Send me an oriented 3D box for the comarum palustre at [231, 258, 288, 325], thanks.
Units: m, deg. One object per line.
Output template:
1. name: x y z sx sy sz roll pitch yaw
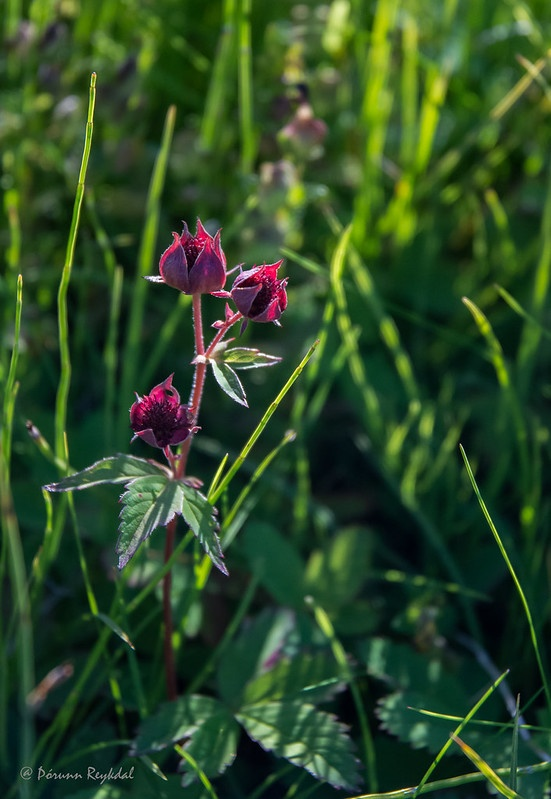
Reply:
1. comarum palustre: -0.015 -0.096 0.651 0.048 0.062 0.066 5 43 -5

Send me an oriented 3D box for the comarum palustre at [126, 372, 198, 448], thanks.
1. comarum palustre: -0.102 -0.001 0.654 0.055 0.073 0.076 -3 45 -13
